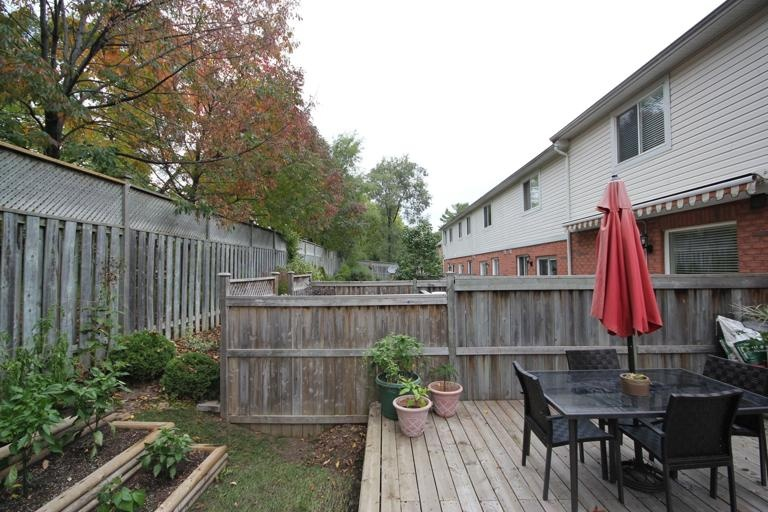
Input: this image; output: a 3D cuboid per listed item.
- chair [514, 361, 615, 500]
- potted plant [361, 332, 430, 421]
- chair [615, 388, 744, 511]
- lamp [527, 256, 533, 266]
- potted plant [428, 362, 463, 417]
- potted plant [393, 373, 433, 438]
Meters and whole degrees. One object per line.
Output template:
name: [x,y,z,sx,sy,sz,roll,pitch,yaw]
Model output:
chair: [2.925,2.647,9.239,1.753,2.602,1.604,-2,0,-4]
potted plant: [0.130,2.194,9.726,0.671,1.052,0.867,9,-24,-17]
chair: [4.423,2.722,7.735,1.291,1.958,1.994,-1,-6,4]
lamp: [4.825,0.181,17.912,0.197,0.390,0.382,0,-4,5]
potted plant: [1.076,2.381,9.499,0.758,0.986,0.798,1,-7,-1]
potted plant: [0.510,2.562,9.119,0.583,0.795,0.542,4,6,-21]
